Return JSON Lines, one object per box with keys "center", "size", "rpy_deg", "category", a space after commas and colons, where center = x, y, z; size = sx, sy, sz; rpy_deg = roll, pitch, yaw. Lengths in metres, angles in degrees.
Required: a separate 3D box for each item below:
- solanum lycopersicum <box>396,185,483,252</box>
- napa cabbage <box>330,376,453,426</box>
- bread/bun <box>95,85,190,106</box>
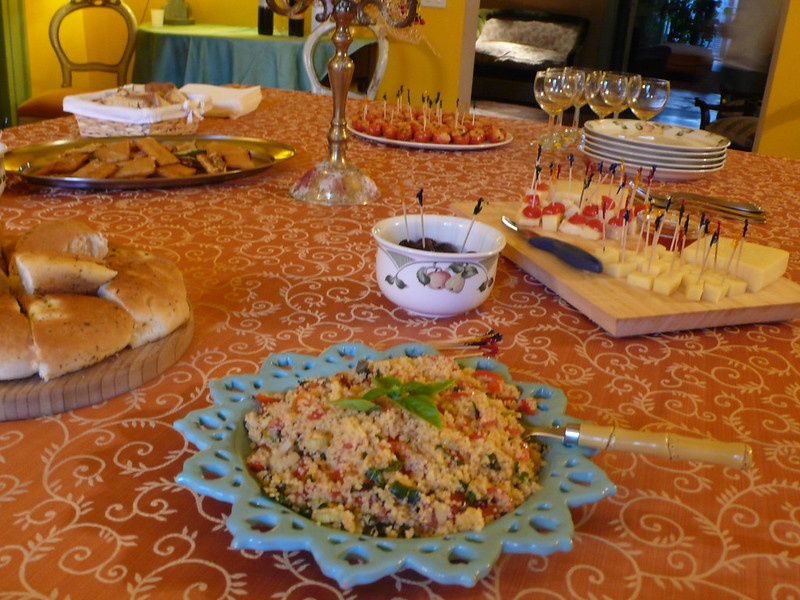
{"center": [0.075, -0.138, 1.010], "size": [0.101, 0.101, 0.129], "rpy_deg": [-8, 17, -36], "category": "solanum lycopersicum"}
{"center": [0.000, 0.102, 0.639], "size": [0.122, 0.035, 0.100], "rpy_deg": [-1, 10, -9], "category": "napa cabbage"}
{"center": [-0.688, -0.539, 1.719], "size": [0.146, 0.048, 0.119], "rpy_deg": [3, 29, 8], "category": "bread/bun"}
